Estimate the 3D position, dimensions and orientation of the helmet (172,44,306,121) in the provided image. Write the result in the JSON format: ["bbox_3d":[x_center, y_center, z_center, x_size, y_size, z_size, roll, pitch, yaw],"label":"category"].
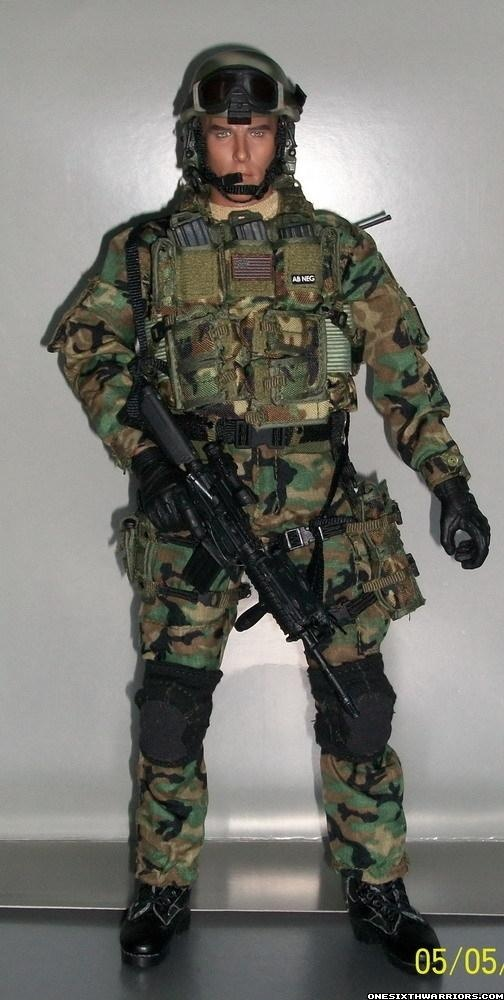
[{"bbox_3d":[-0.004,-1.079,2.320,0.317,0.174,0.441,4,25,6],"label":"helmet"}]

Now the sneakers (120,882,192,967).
[{"bbox_3d":[-0.238,1.047,2.197,0.081,0.117,0.244,-1,-13,11],"label":"sneakers"}]

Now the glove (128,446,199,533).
[{"bbox_3d":[-0.195,-0.043,2.144,0.084,0.211,0.123,-9,-23,-41],"label":"glove"}]

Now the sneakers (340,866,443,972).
[{"bbox_3d":[0.340,1.018,2.213,0.107,0.222,0.319,-19,13,-30],"label":"sneakers"}]
